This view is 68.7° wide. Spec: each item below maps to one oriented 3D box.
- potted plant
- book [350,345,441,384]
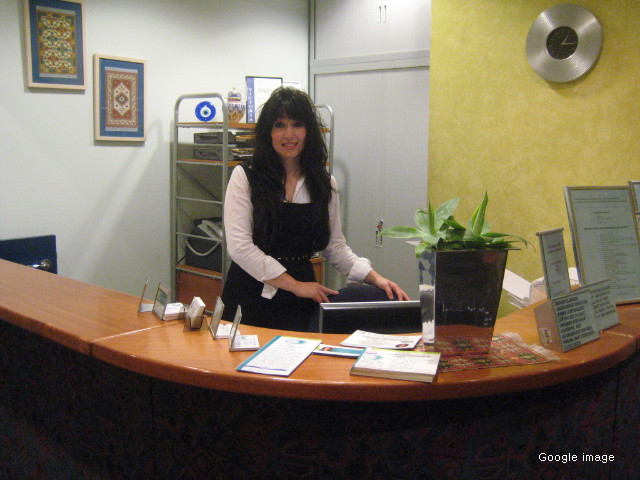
[{"bbox_3d":[0.432,0.113,1.578,0.390,0.527,0.222,-2,8,-10],"label":"potted plant"},{"bbox_3d":[0.242,0.391,1.483,0.265,0.048,0.162,2,8,15],"label":"book"}]
